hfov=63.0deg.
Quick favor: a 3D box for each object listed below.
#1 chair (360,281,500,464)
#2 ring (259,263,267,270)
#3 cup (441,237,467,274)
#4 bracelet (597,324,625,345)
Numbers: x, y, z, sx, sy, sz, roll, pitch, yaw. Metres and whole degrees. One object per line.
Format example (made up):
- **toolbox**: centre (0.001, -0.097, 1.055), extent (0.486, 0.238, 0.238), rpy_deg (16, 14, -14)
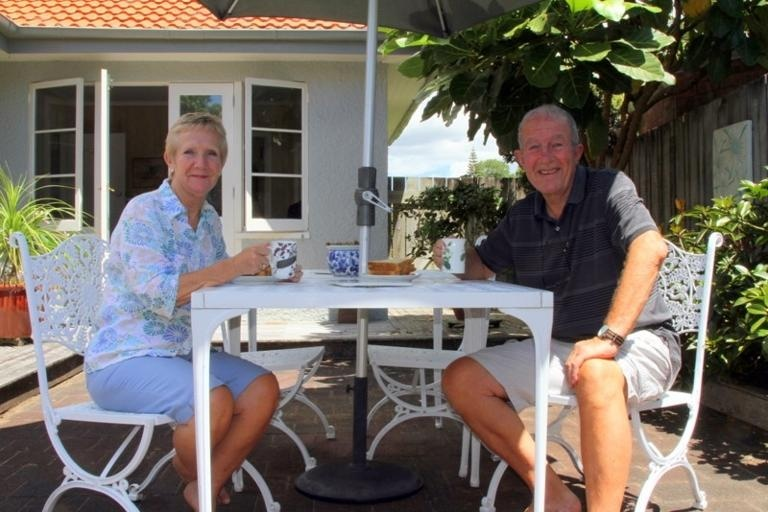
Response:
- **chair**: centre (0.220, 0.826, 4.409), extent (0.963, 1.321, 0.896), rpy_deg (1, -2, 0)
- **ring**: centre (-0.614, 0.052, 3.167), extent (0.009, 0.034, 0.035), rpy_deg (7, 25, 12)
- **cup**: centre (0.374, 0.001, 3.350), extent (0.160, 0.175, 0.170), rpy_deg (1, -3, 0)
- **bracelet**: centre (1.113, 0.387, 3.065), extent (0.123, 0.076, 0.124), rpy_deg (30, -8, -11)
